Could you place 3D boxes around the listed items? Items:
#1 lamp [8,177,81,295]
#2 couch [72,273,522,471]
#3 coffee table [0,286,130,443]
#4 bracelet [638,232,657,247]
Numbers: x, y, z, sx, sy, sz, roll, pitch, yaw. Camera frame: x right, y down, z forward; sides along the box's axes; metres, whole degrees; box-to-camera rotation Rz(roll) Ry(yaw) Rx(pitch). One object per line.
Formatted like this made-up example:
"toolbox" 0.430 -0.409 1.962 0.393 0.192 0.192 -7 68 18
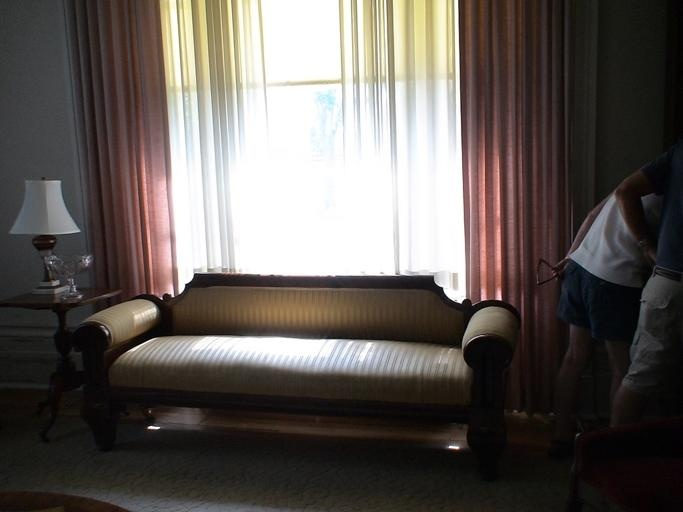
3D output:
"lamp" -1.994 -0.153 3.972 0.399 0.720 0.506 -8 15 -27
"couch" -0.280 0.692 3.646 2.622 1.140 0.837 0 1 9
"coffee table" -1.940 0.671 4.151 0.788 1.073 0.841 2 3 7
"bracelet" 1.531 -0.078 2.941 0.062 0.051 0.061 5 -6 -44
